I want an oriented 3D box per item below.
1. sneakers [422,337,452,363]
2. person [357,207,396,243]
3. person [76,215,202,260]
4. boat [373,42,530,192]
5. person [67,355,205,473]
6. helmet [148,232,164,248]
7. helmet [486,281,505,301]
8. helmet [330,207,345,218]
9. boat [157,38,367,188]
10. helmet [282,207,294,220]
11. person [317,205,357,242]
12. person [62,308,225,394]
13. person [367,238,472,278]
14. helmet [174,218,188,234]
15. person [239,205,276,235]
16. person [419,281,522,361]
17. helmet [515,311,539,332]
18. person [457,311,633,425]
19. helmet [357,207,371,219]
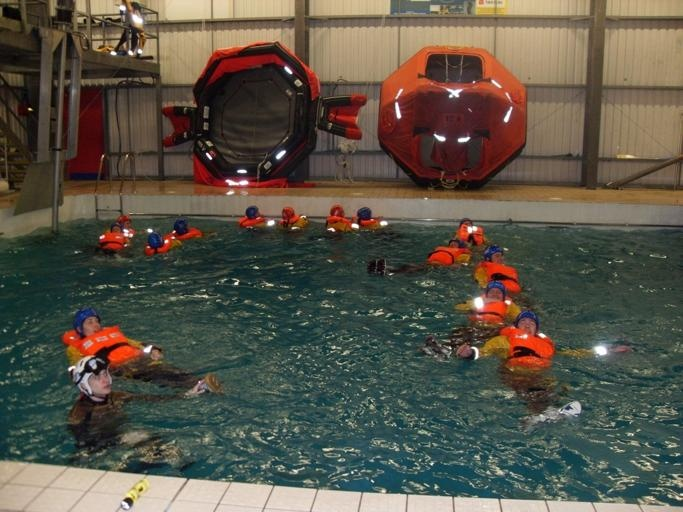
[{"bbox_3d":[1.027,1.020,5.906,0.234,0.085,0.300,-23,25,-30],"label":"sneakers"},{"bbox_3d":[0.742,-0.660,11.679,0.724,0.292,0.841,-12,19,-17],"label":"person"},{"bbox_3d":[-3.728,-0.292,10.327,1.484,0.380,1.107,-3,14,-14],"label":"person"},{"bbox_3d":[2.950,-3.663,14.522,3.653,3.758,1.467,2,15,7],"label":"boat"},{"bbox_3d":[-1.676,1.323,4.506,1.309,0.718,0.934,-1,6,14],"label":"person"},{"bbox_3d":[-3.497,-0.314,10.038,0.294,0.294,0.333,4,5,3],"label":"helmet"},{"bbox_3d":[1.965,0.445,6.942,0.208,0.196,0.248,-4,-28,15],"label":"helmet"},{"bbox_3d":[-0.083,-0.971,12.133,0.270,0.275,0.318,4,0,-1],"label":"helmet"},{"bbox_3d":[-2.010,-4.147,15.630,6.443,3.334,1.176,1,5,13],"label":"boat"},{"bbox_3d":[-1.163,-0.957,11.986,0.344,0.275,0.217,-4,28,-2],"label":"helmet"},{"bbox_3d":[-0.014,-0.626,11.790,0.845,0.290,0.789,-31,40,-28],"label":"person"},{"bbox_3d":[-2.005,1.003,5.512,1.694,0.461,0.751,13,16,15],"label":"person"},{"bbox_3d":[1.307,0.094,8.973,1.569,0.326,0.694,-6,5,-5],"label":"person"},{"bbox_3d":[-3.297,-0.583,11.088,0.319,0.324,0.386,5,-1,-1],"label":"helmet"},{"bbox_3d":[-1.838,-0.824,11.981,0.844,0.461,0.786,-2,13,-7],"label":"person"},{"bbox_3d":[1.706,0.818,6.704,0.800,0.419,1.338,16,39,29],"label":"person"},{"bbox_3d":[2.051,0.695,6.023,0.274,0.289,0.204,1,-9,13],"label":"helmet"},{"bbox_3d":[1.881,1.004,5.474,1.283,0.293,1.089,1,28,4],"label":"person"},{"bbox_3d":[0.542,-0.926,11.811,0.301,0.221,0.266,0,2,-23],"label":"helmet"}]
